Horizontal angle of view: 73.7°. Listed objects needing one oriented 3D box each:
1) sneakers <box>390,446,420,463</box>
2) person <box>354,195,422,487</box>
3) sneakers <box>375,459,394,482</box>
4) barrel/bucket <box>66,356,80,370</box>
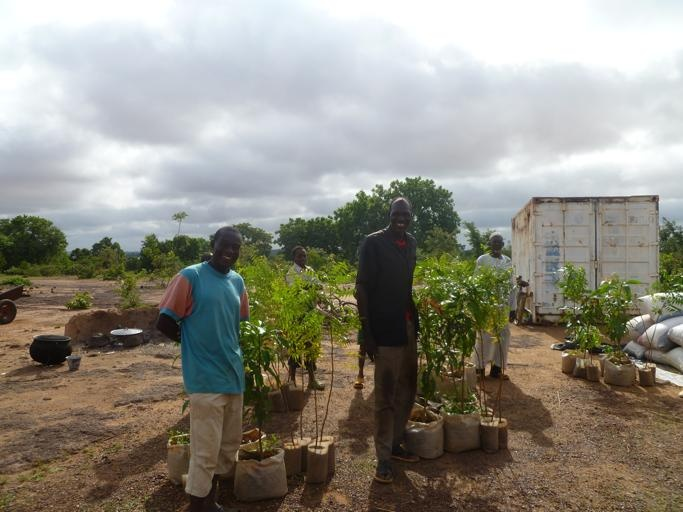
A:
[{"bbox_3d":[0.762,2.404,5.514,0.352,0.147,0.141,-1,-1,8],"label":"sneakers"},{"bbox_3d":[0.566,0.919,5.346,0.836,3.135,0.405,-3,0,-38],"label":"person"},{"bbox_3d":[0.475,2.435,5.142,0.119,0.124,0.291,2,2,-1],"label":"sneakers"},{"bbox_3d":[-5.499,2.221,9.408,0.266,0.205,0.271,2,-5,0],"label":"barrel/bucket"}]
